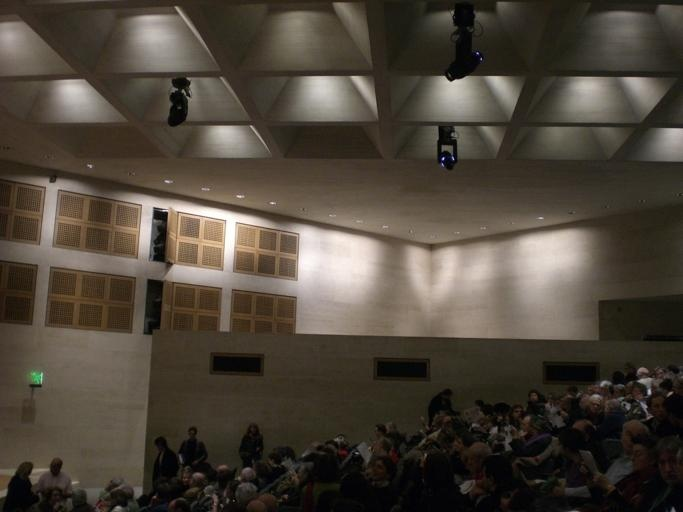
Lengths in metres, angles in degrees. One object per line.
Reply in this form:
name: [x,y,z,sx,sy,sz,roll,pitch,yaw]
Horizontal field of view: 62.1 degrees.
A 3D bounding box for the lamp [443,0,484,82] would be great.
lamp: [1.758,-3.140,8.156,0.393,1.185,0.537,2,-11,-11]
